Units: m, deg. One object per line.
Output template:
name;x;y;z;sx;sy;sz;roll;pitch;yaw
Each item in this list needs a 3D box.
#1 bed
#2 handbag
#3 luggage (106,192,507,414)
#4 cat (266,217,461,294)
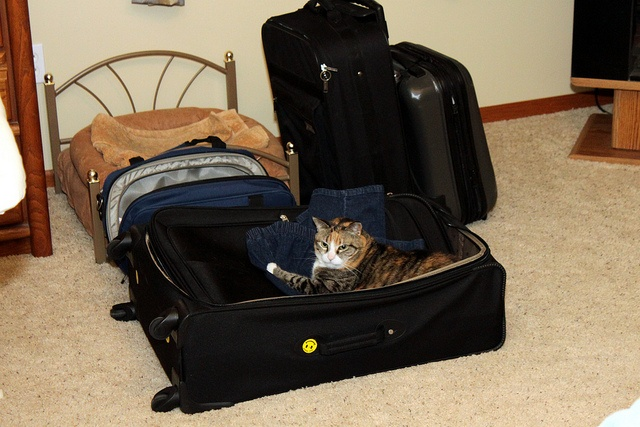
bed;-1.060;-0.546;3.313;0.943;0.699;1.039;-13;20;-28
handbag;-0.445;-0.040;2.156;0.593;0.206;0.453;-15;43;-15
luggage;0.019;0.334;1.881;1.014;0.351;0.671;-10;33;-17
cat;0.118;0.097;1.967;0.691;0.335;0.239;4;1;4
